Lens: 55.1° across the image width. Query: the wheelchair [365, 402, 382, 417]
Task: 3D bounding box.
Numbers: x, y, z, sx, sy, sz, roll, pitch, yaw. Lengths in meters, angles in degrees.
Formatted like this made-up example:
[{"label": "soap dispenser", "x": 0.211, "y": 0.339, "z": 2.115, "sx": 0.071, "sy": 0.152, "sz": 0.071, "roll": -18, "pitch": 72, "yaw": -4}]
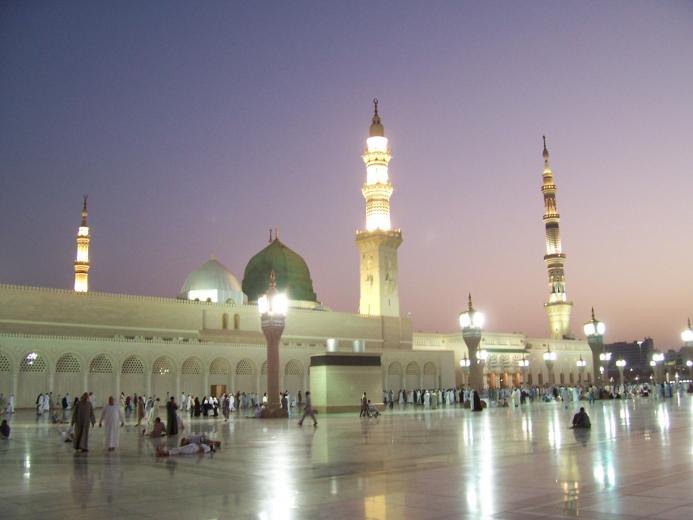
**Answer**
[{"label": "wheelchair", "x": 1.057, "y": 6.764, "z": 29.646, "sx": 0.939, "sy": 0.433, "sz": 0.742, "roll": -3, "pitch": -5, "yaw": 31}]
